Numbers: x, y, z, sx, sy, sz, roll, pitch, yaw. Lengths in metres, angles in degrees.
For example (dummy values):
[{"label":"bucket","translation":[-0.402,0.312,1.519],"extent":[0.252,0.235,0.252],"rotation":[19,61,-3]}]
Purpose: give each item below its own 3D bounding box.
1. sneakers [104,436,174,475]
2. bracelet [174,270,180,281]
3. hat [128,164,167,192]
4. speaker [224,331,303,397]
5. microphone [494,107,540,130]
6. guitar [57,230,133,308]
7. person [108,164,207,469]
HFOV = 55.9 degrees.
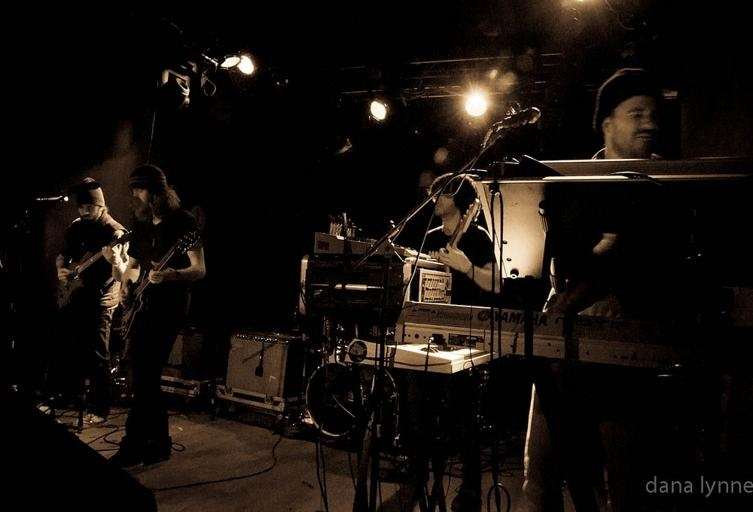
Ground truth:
[{"label":"sneakers","translation":[-2.086,1.715,6.270],"extent":[0.517,0.251,0.172],"rotation":[-3,11,-28]},{"label":"bracelet","translation":[-1.804,0.183,6.355],"extent":[0.055,0.080,0.076],"rotation":[3,0,5]},{"label":"hat","translation":[-2.157,-0.725,6.664],"extent":[0.274,0.226,0.266],"rotation":[1,5,-5]},{"label":"speaker","translation":[-1.159,1.172,7.615],"extent":[0.833,0.746,0.462],"rotation":[2,-8,33]},{"label":"microphone","translation":[1.022,-0.987,4.949],"extent":[0.167,0.073,0.268],"rotation":[-20,9,28]},{"label":"guitar","translation":[-2.969,0.141,7.395],"extent":[1.130,0.587,0.170],"rotation":[-39,-24,32]},{"label":"person","translation":[-2.017,0.494,6.484],"extent":[0.787,2.581,0.992],"rotation":[-1,10,-14]}]
